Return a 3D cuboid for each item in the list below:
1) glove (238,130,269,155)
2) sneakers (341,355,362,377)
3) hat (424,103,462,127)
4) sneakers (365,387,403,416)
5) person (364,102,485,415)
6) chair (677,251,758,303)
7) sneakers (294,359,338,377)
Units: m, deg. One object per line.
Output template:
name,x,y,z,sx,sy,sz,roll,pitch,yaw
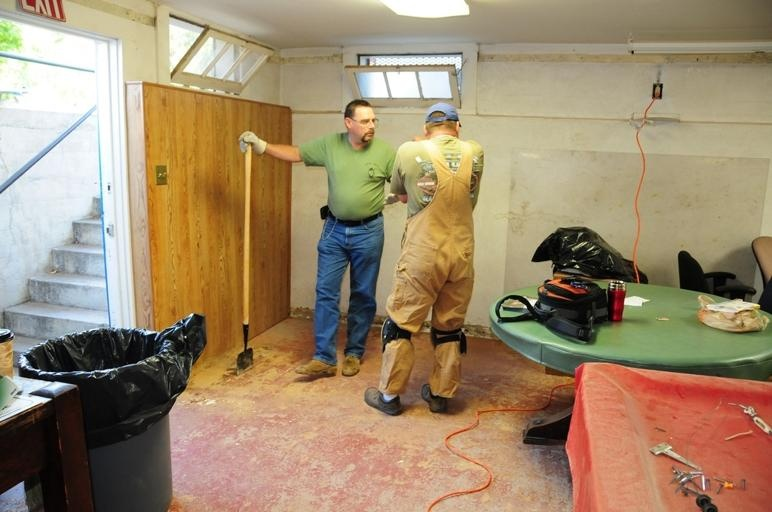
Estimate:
glove,-1.084,-0.912,4.393,0.227,0.167,0.120,23,-13,3
sneakers,-0.284,0.930,4.431,0.173,0.137,0.353,0,1,-5
hat,0.409,-0.990,3.732,0.192,0.119,0.243,3,5,16
sneakers,-0.017,1.088,3.946,0.135,0.115,0.310,-4,16,-42
person,0.265,0.060,3.731,0.695,2.217,0.390,4,9,6
chair,2.746,0.175,4.384,0.392,0.422,0.339,-6,15,14
sneakers,-0.559,0.917,4.381,0.348,0.156,0.126,5,5,-18
